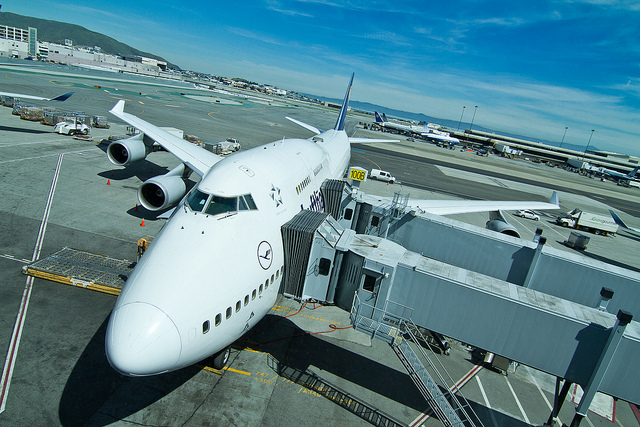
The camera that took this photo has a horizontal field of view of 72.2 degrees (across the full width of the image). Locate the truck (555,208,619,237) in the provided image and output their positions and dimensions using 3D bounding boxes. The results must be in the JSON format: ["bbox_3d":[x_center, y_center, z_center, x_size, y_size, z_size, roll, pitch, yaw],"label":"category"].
[{"bbox_3d":[43.698,1.595,69.825,3.409,2.861,8.634,7,8,-34],"label":"truck"}]

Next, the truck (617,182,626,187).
[{"bbox_3d":[104.555,-10.279,152.147,2.263,0.303,12.459,18,17,31],"label":"truck"}]

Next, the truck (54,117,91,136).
[{"bbox_3d":[-37.593,-13.172,66.827,2.954,2.227,3.735,16,17,15],"label":"truck"}]

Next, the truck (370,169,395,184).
[{"bbox_3d":[11.195,-6.667,77.894,4.205,1.595,2.461,-1,13,5],"label":"truck"}]

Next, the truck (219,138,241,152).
[{"bbox_3d":[-15.533,-11.981,76.389,2.641,1.113,3.817,2,14,-5],"label":"truck"}]
